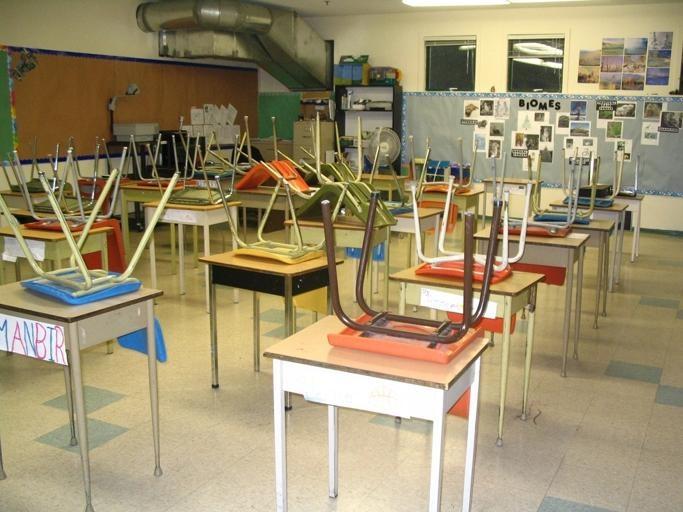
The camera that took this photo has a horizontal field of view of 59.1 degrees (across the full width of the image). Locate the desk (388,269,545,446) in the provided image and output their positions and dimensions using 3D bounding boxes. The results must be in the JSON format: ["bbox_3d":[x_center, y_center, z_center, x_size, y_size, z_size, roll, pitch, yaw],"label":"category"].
[{"bbox_3d":[0.624,0.485,3.296,0.830,0.899,0.612,7,-12,7],"label":"desk"}]

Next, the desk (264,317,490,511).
[{"bbox_3d":[0.165,0.726,2.633,0.789,0.758,0.537,7,16,29],"label":"desk"}]

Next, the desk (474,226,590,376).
[{"bbox_3d":[1.204,0.297,3.787,0.865,0.809,0.675,9,17,37],"label":"desk"}]
